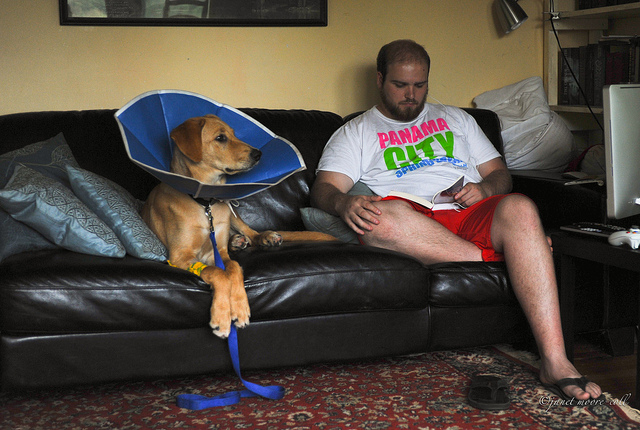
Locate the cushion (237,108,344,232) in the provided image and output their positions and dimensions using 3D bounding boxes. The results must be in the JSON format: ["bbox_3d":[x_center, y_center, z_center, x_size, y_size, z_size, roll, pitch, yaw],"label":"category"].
[{"bbox_3d":[-0.186,-0.249,2.948,0.558,0.346,0.718,-4,29,-14],"label":"cushion"}]

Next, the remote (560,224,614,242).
[{"bbox_3d":[1.186,0.073,2.222,0.068,0.051,0.258,-8,15,-26],"label":"remote"}]

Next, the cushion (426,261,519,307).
[{"bbox_3d":[0.702,0.327,2.370,0.260,0.111,0.291,-2,6,1],"label":"cushion"}]

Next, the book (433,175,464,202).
[{"bbox_3d":[0.682,-0.138,2.682,0.166,0.020,0.128,-20,-26,-38],"label":"book"}]
